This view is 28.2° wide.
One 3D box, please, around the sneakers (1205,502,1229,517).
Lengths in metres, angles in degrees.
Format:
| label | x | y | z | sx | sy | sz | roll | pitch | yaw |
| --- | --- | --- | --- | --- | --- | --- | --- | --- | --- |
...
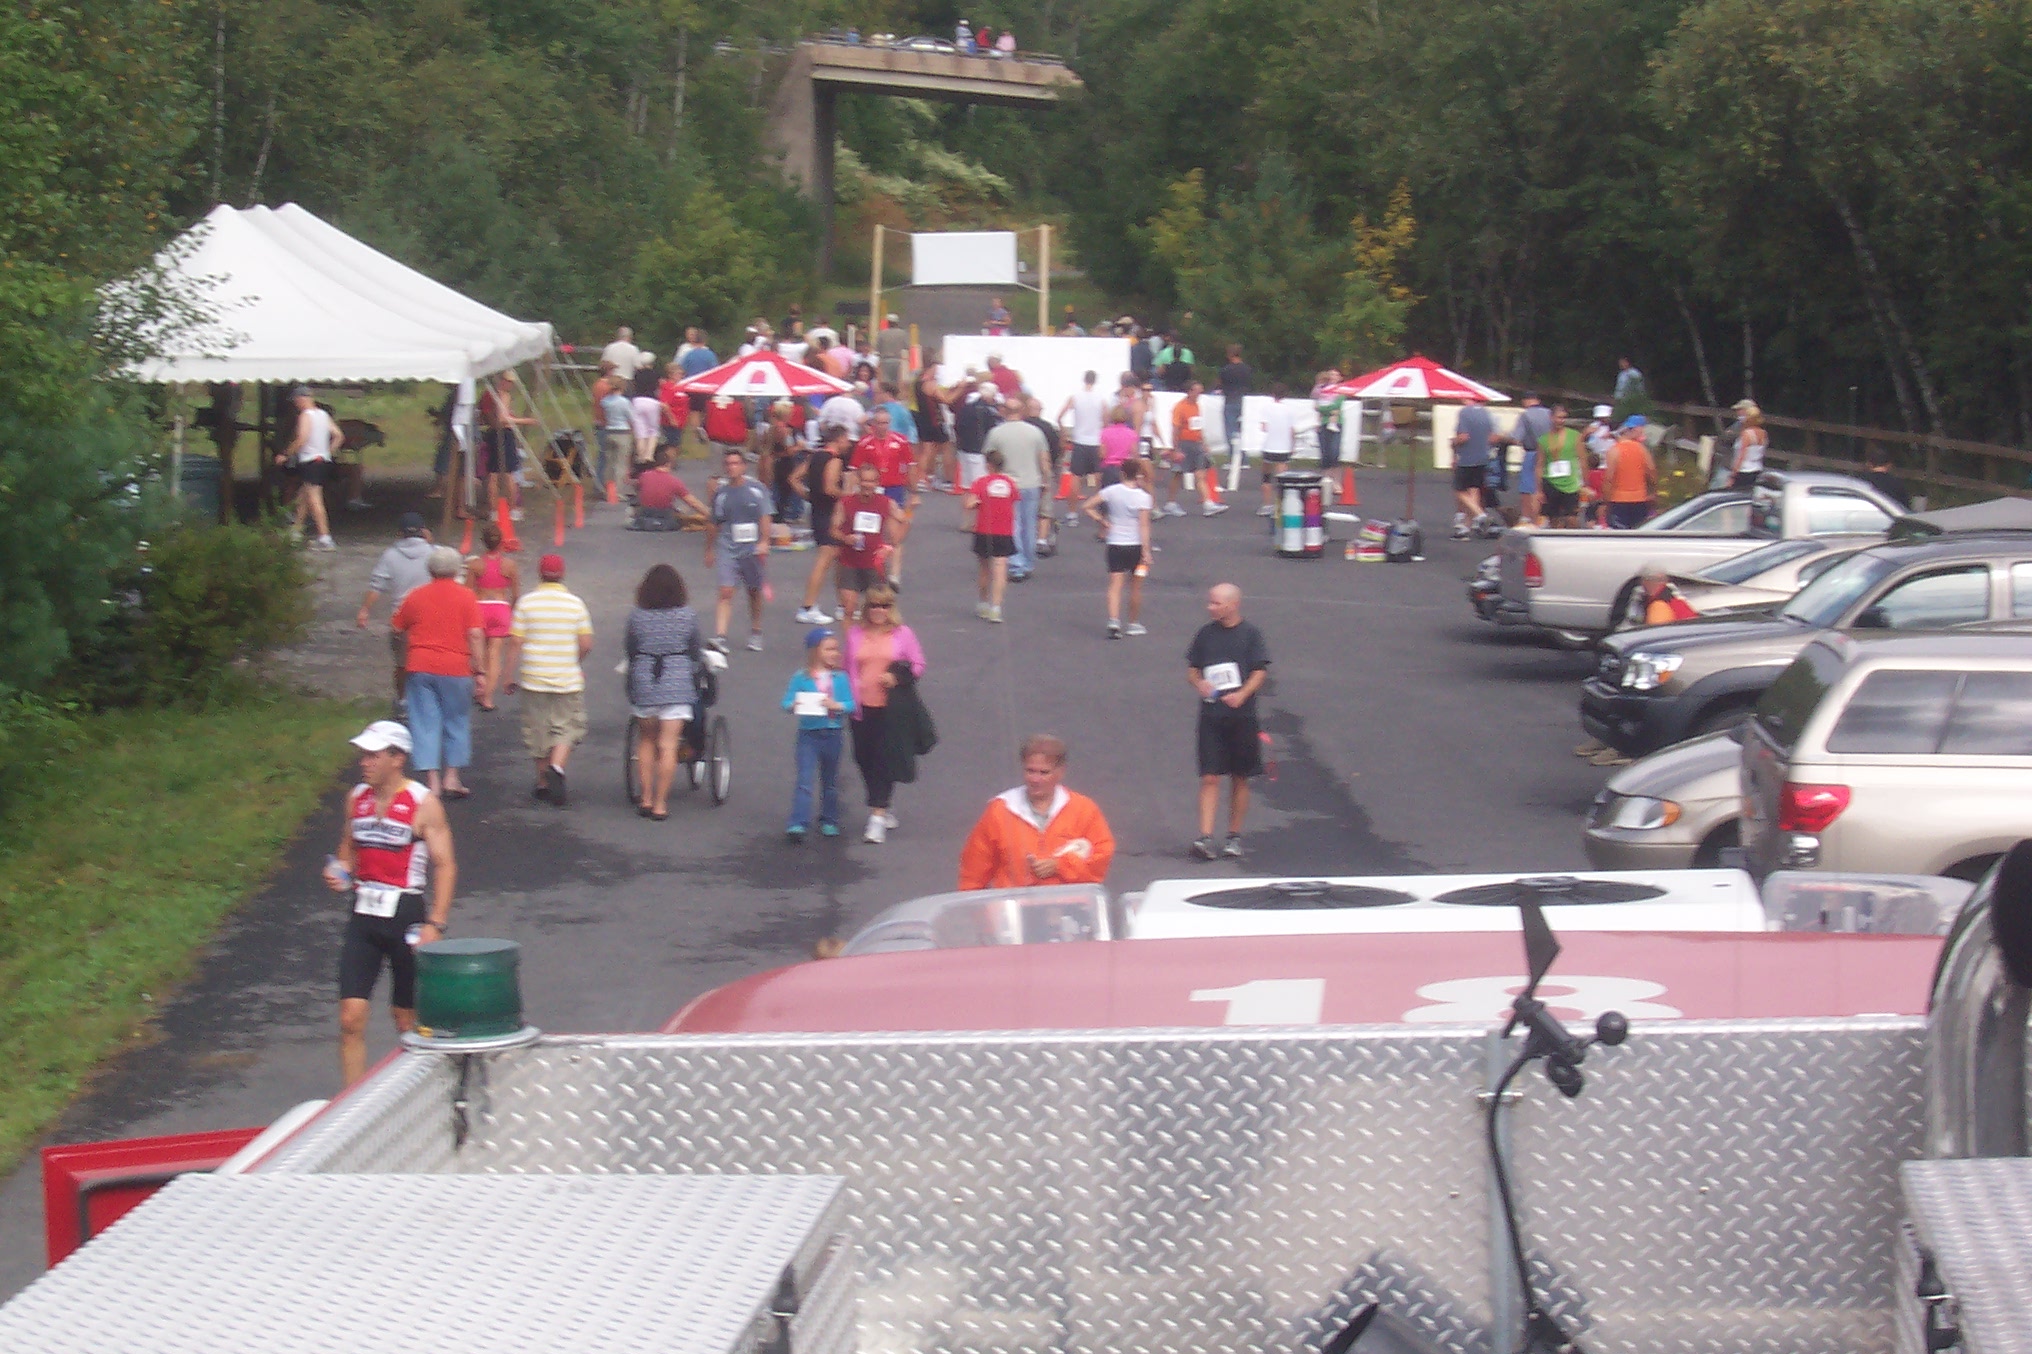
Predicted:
| label | x | y | z | sx | sy | sz | roll | pitch | yaw |
| --- | --- | --- | --- | --- | --- | --- | --- | --- | --- |
| sneakers | 3.551 | -2.910 | 70.229 | 0.463 | 0.157 | 0.131 | -6 | 49 | 5 |

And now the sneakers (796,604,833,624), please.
| label | x | y | z | sx | sy | sz | roll | pitch | yaw |
| --- | --- | --- | --- | --- | --- | --- | --- | --- | --- |
| sneakers | -2.762 | -0.872 | 57.502 | 0.571 | 0.198 | 0.204 | 1 | 10 | -2 |

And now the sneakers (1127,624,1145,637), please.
| label | x | y | z | sx | sy | sz | roll | pitch | yaw |
| --- | --- | --- | --- | --- | --- | --- | --- | --- | --- |
| sneakers | 1.747 | -0.649 | 57.687 | 0.197 | 0.169 | 0.446 | 0 | -2 | 3 |

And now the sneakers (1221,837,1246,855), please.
| label | x | y | z | sx | sy | sz | roll | pitch | yaw |
| --- | --- | --- | --- | --- | --- | --- | --- | --- | --- |
| sneakers | 2.729 | 2.155 | 49.875 | 0.177 | 0.165 | 0.263 | -2 | -16 | 2 |

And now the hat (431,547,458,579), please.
| label | x | y | z | sx | sy | sz | roll | pitch | yaw |
| --- | --- | --- | --- | --- | --- | --- | --- | --- | --- |
| hat | -7.056 | -1.451 | 50.704 | 0.308 | 0.255 | 0.363 | 4 | 17 | 1 |

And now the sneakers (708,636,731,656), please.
| label | x | y | z | sx | sy | sz | roll | pitch | yaw |
| --- | --- | --- | --- | --- | --- | --- | --- | --- | --- |
| sneakers | -3.936 | -0.401 | 54.370 | 0.300 | 0.132 | 0.409 | 3 | 5 | -4 |

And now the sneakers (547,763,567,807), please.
| label | x | y | z | sx | sy | sz | roll | pitch | yaw |
| --- | --- | --- | --- | --- | --- | --- | --- | --- | --- |
| sneakers | -5.717 | 1.424 | 51.159 | 0.237 | 0.476 | 0.221 | 2 | -3 | 1 |
